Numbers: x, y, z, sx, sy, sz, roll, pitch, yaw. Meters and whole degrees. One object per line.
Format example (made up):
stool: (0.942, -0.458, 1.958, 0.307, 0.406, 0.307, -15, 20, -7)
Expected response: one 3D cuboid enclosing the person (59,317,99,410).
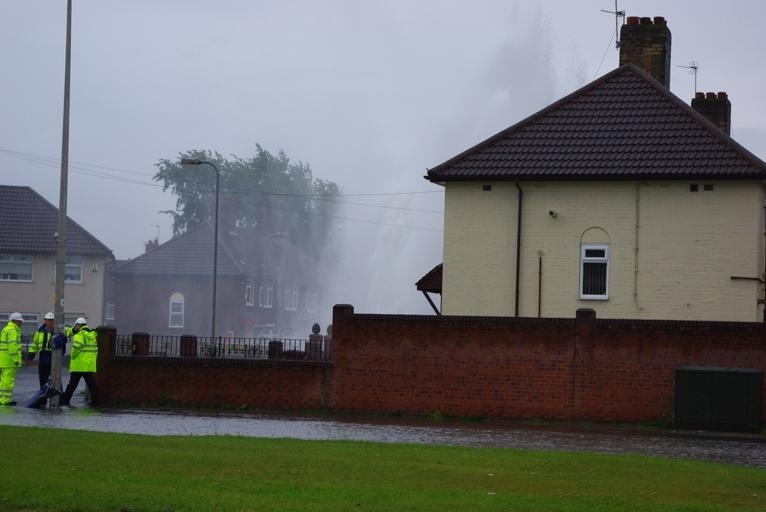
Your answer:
person: (-9.586, 3.315, 45.586, 1.072, 2.806, 1.499, 3, -6, -11)
